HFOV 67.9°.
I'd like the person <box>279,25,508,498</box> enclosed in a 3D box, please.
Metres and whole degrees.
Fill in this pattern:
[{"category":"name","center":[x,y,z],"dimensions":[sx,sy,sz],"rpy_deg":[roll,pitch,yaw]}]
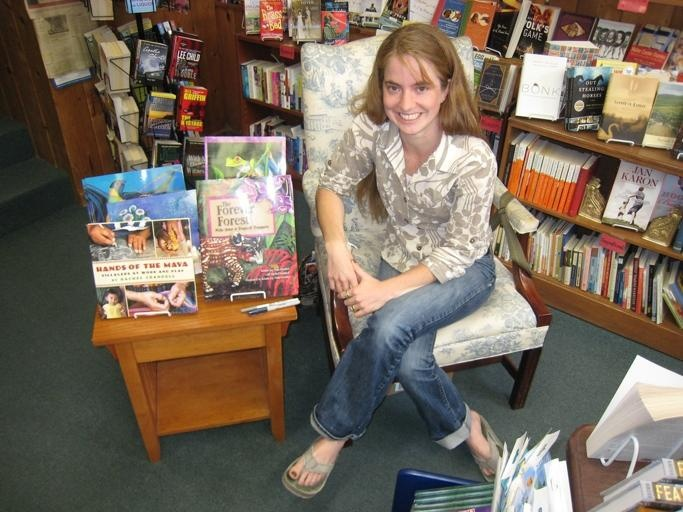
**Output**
[{"category":"person","center":[0.236,0.025,1.968],"dimensions":[0.795,1.610,0.977],"rpy_deg":[10,23,35]}]
